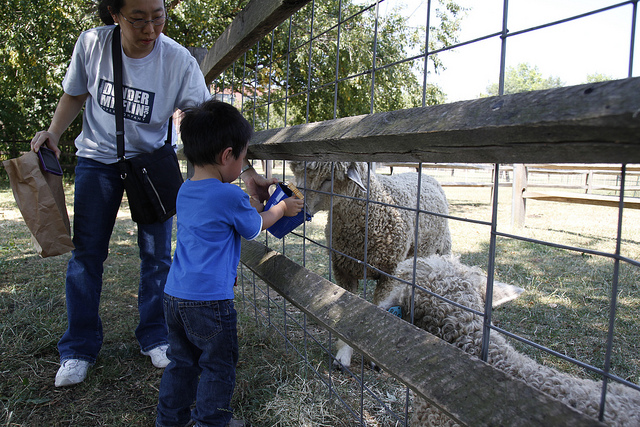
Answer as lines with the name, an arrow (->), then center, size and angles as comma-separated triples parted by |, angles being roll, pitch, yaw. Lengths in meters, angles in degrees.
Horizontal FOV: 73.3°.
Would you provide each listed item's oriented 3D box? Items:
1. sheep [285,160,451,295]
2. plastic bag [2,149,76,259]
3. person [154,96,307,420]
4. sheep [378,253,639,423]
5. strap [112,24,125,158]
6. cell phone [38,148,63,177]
sheep -> 0.418, 0.049, 4.731 | 2.009, 1.670, 0.952 | -5, 0, -44
plastic bag -> -1.791, -0.055, 2.824 | 0.324, 0.858, 0.664 | -9, 13, -44
person -> -0.593, 0.288, 2.542 | 0.689, 1.860, 0.498 | 8, -11, -7
sheep -> 1.058, 0.767, 2.778 | 1.597, 1.117, 0.717 | 17, 14, 39
strap -> -1.397, -0.855, 2.990 | 0.069, 0.905, 0.190 | -2, 4, -20
cell phone -> -1.797, -0.351, 2.854 | 0.030, 0.215, 0.125 | -37, -22, 12
